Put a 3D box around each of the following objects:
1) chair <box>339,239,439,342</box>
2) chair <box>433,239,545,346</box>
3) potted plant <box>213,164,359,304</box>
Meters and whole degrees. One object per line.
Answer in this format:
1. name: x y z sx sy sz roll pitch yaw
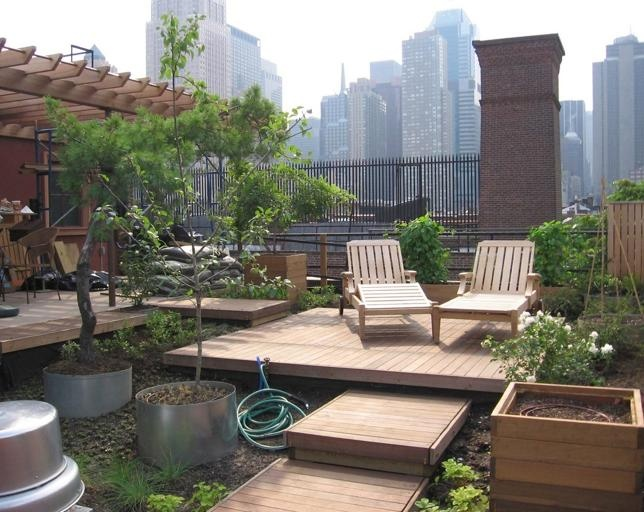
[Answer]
1. chair: 0.875 0.339 8.660 0.898 1.038 1.550 -1 -1 -5
2. chair: 2.321 0.438 8.373 1.014 1.225 1.893 0 5 26
3. potted plant: -1.014 -0.136 9.957 2.557 2.394 1.982 1 3 8
